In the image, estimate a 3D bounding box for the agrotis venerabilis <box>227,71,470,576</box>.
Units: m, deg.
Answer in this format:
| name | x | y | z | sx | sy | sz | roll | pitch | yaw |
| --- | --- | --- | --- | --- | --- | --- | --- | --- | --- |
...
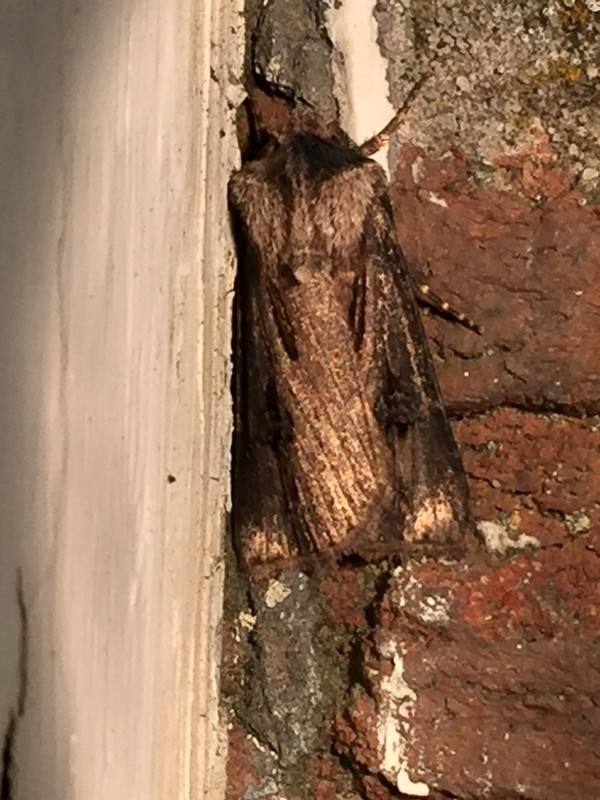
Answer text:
| name | x | y | z | sx | sy | sz | roll | pitch | yaw |
| --- | --- | --- | --- | --- | --- | --- | --- | --- | --- |
| agrotis venerabilis | 0.070 | -0.096 | 3.333 | 0.400 | 1.117 | 0.275 | -4 | 5 | 12 |
